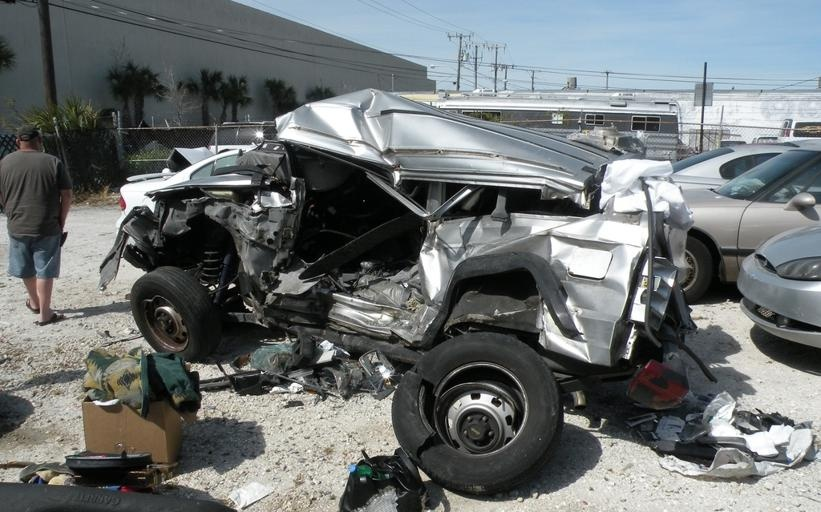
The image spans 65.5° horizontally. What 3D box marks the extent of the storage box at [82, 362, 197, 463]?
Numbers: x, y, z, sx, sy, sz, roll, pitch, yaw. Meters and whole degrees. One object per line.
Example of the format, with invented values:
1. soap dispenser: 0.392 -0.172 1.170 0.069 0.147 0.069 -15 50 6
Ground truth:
1. storage box: -2.530 1.505 5.891 0.709 0.398 0.667 1 3 11

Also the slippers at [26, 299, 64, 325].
1. slippers: -4.945 0.770 8.469 0.694 0.258 0.236 12 18 20

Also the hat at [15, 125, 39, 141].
1. hat: -4.969 -1.600 8.341 0.224 0.111 0.286 0 25 -11
